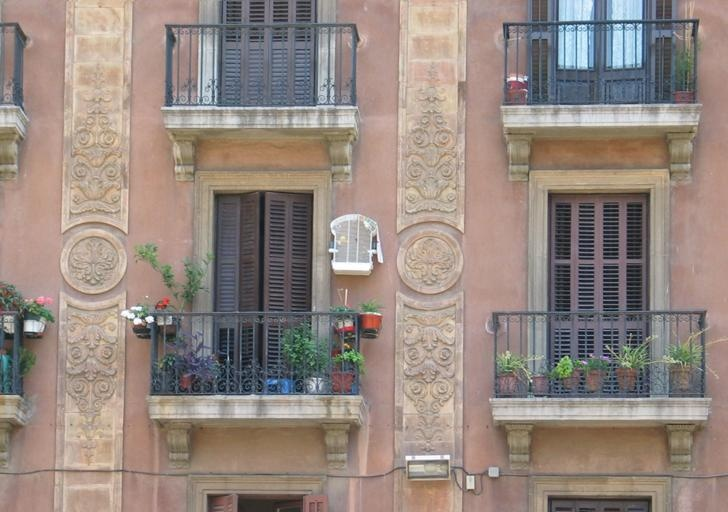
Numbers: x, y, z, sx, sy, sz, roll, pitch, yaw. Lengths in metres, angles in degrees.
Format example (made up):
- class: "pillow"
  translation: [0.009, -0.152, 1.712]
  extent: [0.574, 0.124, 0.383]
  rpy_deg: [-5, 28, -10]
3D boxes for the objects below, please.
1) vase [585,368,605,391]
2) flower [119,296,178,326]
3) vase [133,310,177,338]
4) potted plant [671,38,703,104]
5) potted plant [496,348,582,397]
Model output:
- class: "vase"
  translation: [3.673, 1.863, 38.447]
  extent: [0.333, 0.278, 0.322]
  rpy_deg: [1, -24, 11]
- class: "flower"
  translation: [-3.419, 0.821, 39.067]
  extent: [0.822, 0.497, 0.552]
  rpy_deg: [0, -12, -4]
- class: "vase"
  translation: [-3.276, 1.013, 38.974]
  extent: [0.627, 0.262, 0.391]
  rpy_deg: [0, -13, -3]
- class: "potted plant"
  translation: [5.222, -3.053, 39.438]
  extent: [0.425, 1.133, 0.407]
  rpy_deg: [0, 9, 10]
- class: "potted plant"
  translation: [2.749, 1.757, 38.512]
  extent: [1.190, 0.579, 0.662]
  rpy_deg: [2, -13, 0]
